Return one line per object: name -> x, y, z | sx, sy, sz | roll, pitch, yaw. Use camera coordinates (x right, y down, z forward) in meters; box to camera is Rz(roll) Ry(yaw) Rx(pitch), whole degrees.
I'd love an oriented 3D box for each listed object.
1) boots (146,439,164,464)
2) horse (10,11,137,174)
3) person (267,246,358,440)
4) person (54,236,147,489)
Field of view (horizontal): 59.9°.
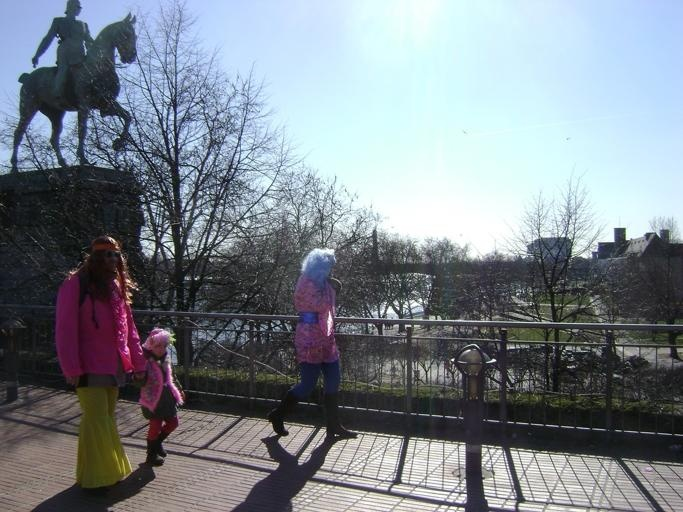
boots -> -2.259, 2.388, 7.137 | 0.218, 0.281, 0.203 | -2, 7, -14
horse -> -7.496, -4.351, 16.585 | 4.026, 4.015, 1.019 | -4, -5, 18
person -> -0.345, 1.208, 7.831 | 1.010, 2.535, 0.425 | -1, 7, -7
person -> -2.676, 1.207, 6.619 | 0.626, 2.775, 0.915 | 4, 8, 32
